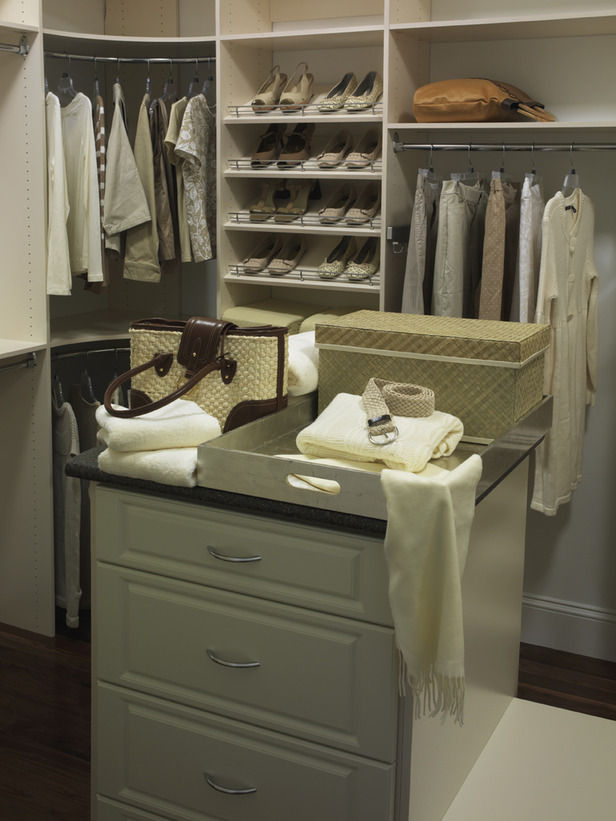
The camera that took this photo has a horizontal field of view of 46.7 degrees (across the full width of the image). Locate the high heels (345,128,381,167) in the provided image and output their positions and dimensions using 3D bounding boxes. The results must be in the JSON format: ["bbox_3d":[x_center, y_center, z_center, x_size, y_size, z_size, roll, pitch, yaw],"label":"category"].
[{"bbox_3d":[0.197,-0.879,2.407,0.076,0.102,0.256,8,42,17],"label":"high heels"}]

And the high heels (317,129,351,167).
[{"bbox_3d":[0.093,-0.876,2.417,0.069,0.092,0.232,8,46,21],"label":"high heels"}]

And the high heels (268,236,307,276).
[{"bbox_3d":[-0.071,-0.563,2.618,0.072,0.100,0.241,4,31,13],"label":"high heels"}]

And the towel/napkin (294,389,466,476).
[{"bbox_3d":[0.094,0.030,1.005,0.200,0.071,0.197,7,11,30],"label":"towel/napkin"}]

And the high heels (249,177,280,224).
[{"bbox_3d":[-0.161,-0.759,2.609,0.073,0.100,0.251,1,41,7],"label":"high heels"}]

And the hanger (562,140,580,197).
[{"bbox_3d":[0.814,-0.740,2.199,0.045,0.143,0.254,4,10,19],"label":"hanger"}]

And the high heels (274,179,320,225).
[{"bbox_3d":[-0.047,-0.757,2.606,0.087,0.122,0.284,2,30,19],"label":"high heels"}]

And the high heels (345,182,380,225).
[{"bbox_3d":[0.184,-0.690,2.439,0.072,0.090,0.230,3,43,18],"label":"high heels"}]

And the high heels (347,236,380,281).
[{"bbox_3d":[0.201,-0.521,2.457,0.068,0.090,0.228,1,33,19],"label":"high heels"}]

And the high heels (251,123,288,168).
[{"bbox_3d":[-0.133,-0.960,2.574,0.079,0.114,0.270,14,45,11],"label":"high heels"}]

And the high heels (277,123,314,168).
[{"bbox_3d":[-0.039,-0.942,2.548,0.075,0.116,0.264,7,43,17],"label":"high heels"}]

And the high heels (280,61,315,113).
[{"bbox_3d":[-0.038,-1.097,2.476,0.087,0.104,0.294,3,48,13],"label":"high heels"}]

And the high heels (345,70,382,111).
[{"bbox_3d":[0.182,-1.044,2.329,0.117,0.171,0.211,2,9,7],"label":"high heels"}]

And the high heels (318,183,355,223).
[{"bbox_3d":[0.104,-0.709,2.467,0.069,0.092,0.228,15,48,18],"label":"high heels"}]

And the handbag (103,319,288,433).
[{"bbox_3d":[-0.182,-0.125,1.129,0.253,0.245,0.181,8,12,27],"label":"handbag"}]

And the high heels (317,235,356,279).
[{"bbox_3d":[0.109,-0.533,2.511,0.074,0.098,0.250,10,46,22],"label":"high heels"}]
